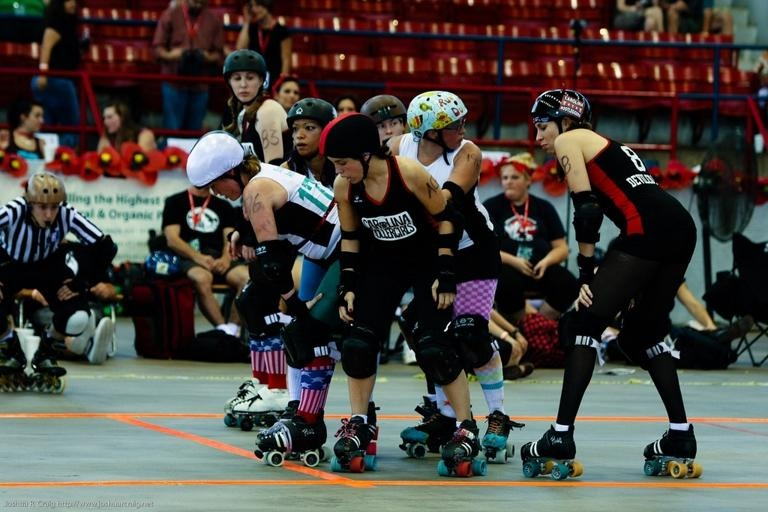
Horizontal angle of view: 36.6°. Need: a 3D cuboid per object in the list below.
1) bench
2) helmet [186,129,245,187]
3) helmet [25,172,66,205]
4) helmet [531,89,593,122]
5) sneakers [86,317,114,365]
[{"bbox_3d":[-2.289,0.728,13.213,1.243,0.978,0.410,0,6,-13],"label":"bench"},{"bbox_3d":[-1.379,-0.800,9.370,0.471,0.328,0.330,-41,27,-20],"label":"helmet"},{"bbox_3d":[-3.381,-0.665,11.658,0.266,0.363,0.364,-1,-3,-22],"label":"helmet"},{"bbox_3d":[1.392,-1.169,9.110,0.335,0.281,0.273,10,1,11],"label":"helmet"},{"bbox_3d":[-3.056,0.945,12.720,0.204,0.669,0.248,7,15,-26],"label":"sneakers"}]
